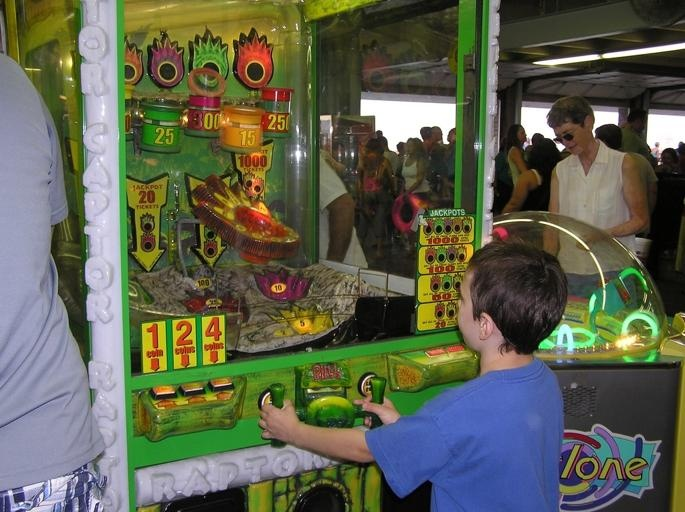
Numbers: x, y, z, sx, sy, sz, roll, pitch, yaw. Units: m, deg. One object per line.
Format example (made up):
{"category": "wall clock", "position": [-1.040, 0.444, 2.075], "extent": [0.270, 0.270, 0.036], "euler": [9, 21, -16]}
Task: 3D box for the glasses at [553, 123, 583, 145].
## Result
{"category": "glasses", "position": [1.098, -0.583, 2.634], "extent": [0.103, 0.036, 0.097], "euler": [-19, 9, -25]}
